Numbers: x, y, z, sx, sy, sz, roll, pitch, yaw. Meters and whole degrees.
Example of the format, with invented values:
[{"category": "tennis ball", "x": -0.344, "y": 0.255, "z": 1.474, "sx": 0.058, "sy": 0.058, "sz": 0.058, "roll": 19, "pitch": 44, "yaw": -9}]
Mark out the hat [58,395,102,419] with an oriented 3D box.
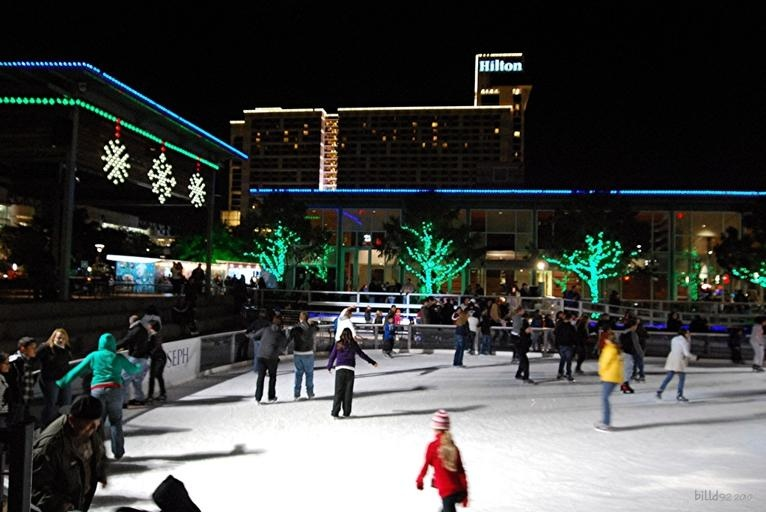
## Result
[{"category": "hat", "x": -4.068, "y": 2.087, "z": 9.008, "sx": 0.434, "sy": 0.215, "sz": 0.295, "roll": 10, "pitch": 17, "yaw": 3}]
